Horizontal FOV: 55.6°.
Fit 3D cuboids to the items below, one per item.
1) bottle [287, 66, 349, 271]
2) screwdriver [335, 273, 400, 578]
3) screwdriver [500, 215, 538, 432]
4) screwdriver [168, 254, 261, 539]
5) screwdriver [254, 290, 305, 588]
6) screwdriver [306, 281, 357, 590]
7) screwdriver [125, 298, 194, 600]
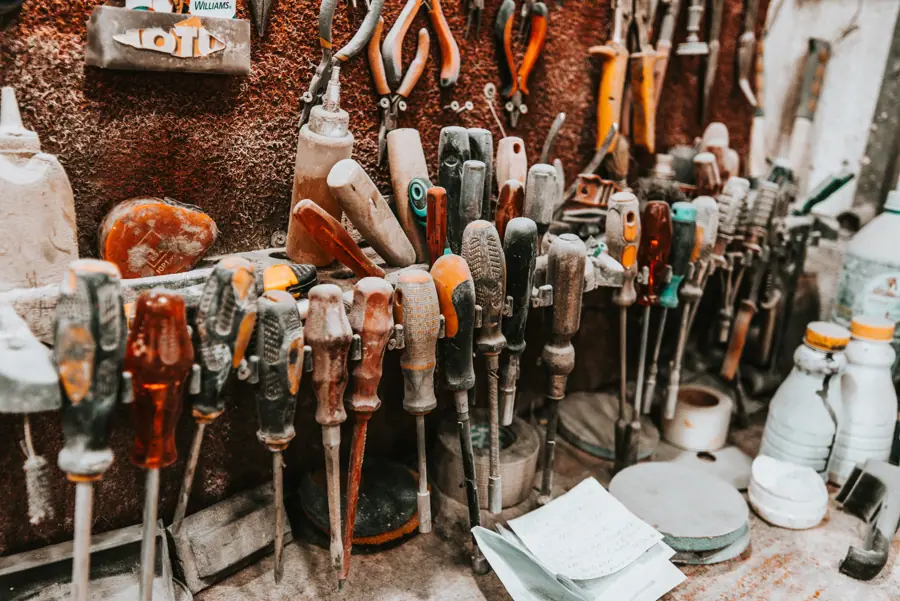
[{"bbox_3d":[-0.241,-0.250,1.617,0.159,0.377,0.120,-13,20,-36],"label":"bottle"},{"bbox_3d":[-0.172,0.240,1.585,0.084,0.586,0.093,6,6,18],"label":"screwdriver"},{"bbox_3d":[0.107,0.049,1.668,0.067,0.416,0.065,-13,23,-40],"label":"screwdriver"},{"bbox_3d":[-0.419,0.173,1.469,0.127,0.484,0.095,15,2,28],"label":"screwdriver"},{"bbox_3d":[-0.308,0.253,1.574,0.090,0.591,0.168,-4,16,-13],"label":"screwdriver"},{"bbox_3d":[-0.214,0.237,1.567,0.082,0.560,0.145,-3,16,-7],"label":"screwdriver"},{"bbox_3d":[-0.476,0.250,1.414,0.125,0.550,0.116,-6,17,-19],"label":"screwdriver"}]
